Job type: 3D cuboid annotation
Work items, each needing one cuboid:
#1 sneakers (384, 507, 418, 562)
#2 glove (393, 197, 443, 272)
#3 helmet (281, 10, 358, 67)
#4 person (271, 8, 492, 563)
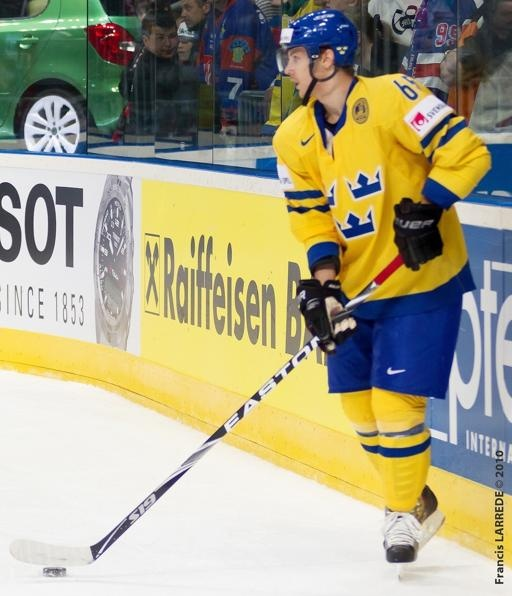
[{"bbox_3d":[0.422,0.686,2.823,0.072,0.066,0.170,-4,12,4],"label":"sneakers"},{"bbox_3d":[0.450,-0.180,2.672,0.148,0.190,0.113,-4,-3,32],"label":"glove"},{"bbox_3d":[0.193,-0.726,2.769,0.186,0.132,0.151,-18,18,-3],"label":"helmet"},{"bbox_3d":[0.370,-0.028,2.830,0.628,1.568,0.381,-1,4,17],"label":"person"}]
